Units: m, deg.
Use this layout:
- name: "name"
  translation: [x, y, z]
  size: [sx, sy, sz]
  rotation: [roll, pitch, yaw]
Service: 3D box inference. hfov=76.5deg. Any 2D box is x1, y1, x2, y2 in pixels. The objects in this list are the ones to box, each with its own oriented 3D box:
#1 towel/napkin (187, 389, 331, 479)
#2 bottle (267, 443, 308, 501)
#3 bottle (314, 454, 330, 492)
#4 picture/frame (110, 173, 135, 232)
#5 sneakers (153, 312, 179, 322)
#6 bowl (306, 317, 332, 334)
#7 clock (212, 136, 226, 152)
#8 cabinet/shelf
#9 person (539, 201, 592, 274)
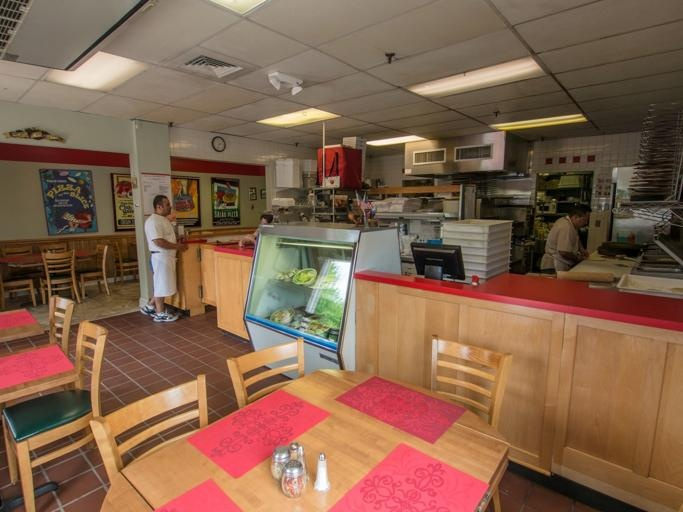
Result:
- name: "towel/napkin"
  translation: [-0.476, 1.016, 2.550]
  size: [0.827, 0.008, 0.650]
  rotation: [-16, 17, -33]
- name: "bottle"
  translation: [-0.267, 1.119, 2.255]
  size: [0.148, 0.222, 0.170]
  rotation: [-6, 11, -30]
- name: "bottle"
  translation: [-0.090, 1.118, 2.236]
  size: [0.096, 0.195, 0.068]
  rotation: [-7, 12, -34]
- name: "picture/frame"
  translation: [-4.354, -1.066, 8.696]
  size: [0.235, 1.158, 0.440]
  rotation: [4, 11, 21]
- name: "sneakers"
  translation: [-2.537, 0.874, 6.257]
  size: [0.350, 0.135, 0.138]
  rotation: [-2, 6, -25]
- name: "bowl"
  translation: [-0.226, 0.651, 3.943]
  size: [0.113, 0.116, 0.300]
  rotation: [-7, 10, -35]
- name: "clock"
  translation: [-2.202, -1.994, 7.730]
  size: [0.044, 0.299, 0.310]
  rotation: [5, 10, 29]
- name: "cabinet/shelf"
  translation: [-0.287, 0.388, 4.751]
  size: [1.944, 1.675, 1.485]
  rotation: [4, 7, 38]
- name: "person"
  translation: [2.946, -0.232, 5.663]
  size: [0.538, 0.885, 0.751]
  rotation: [5, 10, 28]
